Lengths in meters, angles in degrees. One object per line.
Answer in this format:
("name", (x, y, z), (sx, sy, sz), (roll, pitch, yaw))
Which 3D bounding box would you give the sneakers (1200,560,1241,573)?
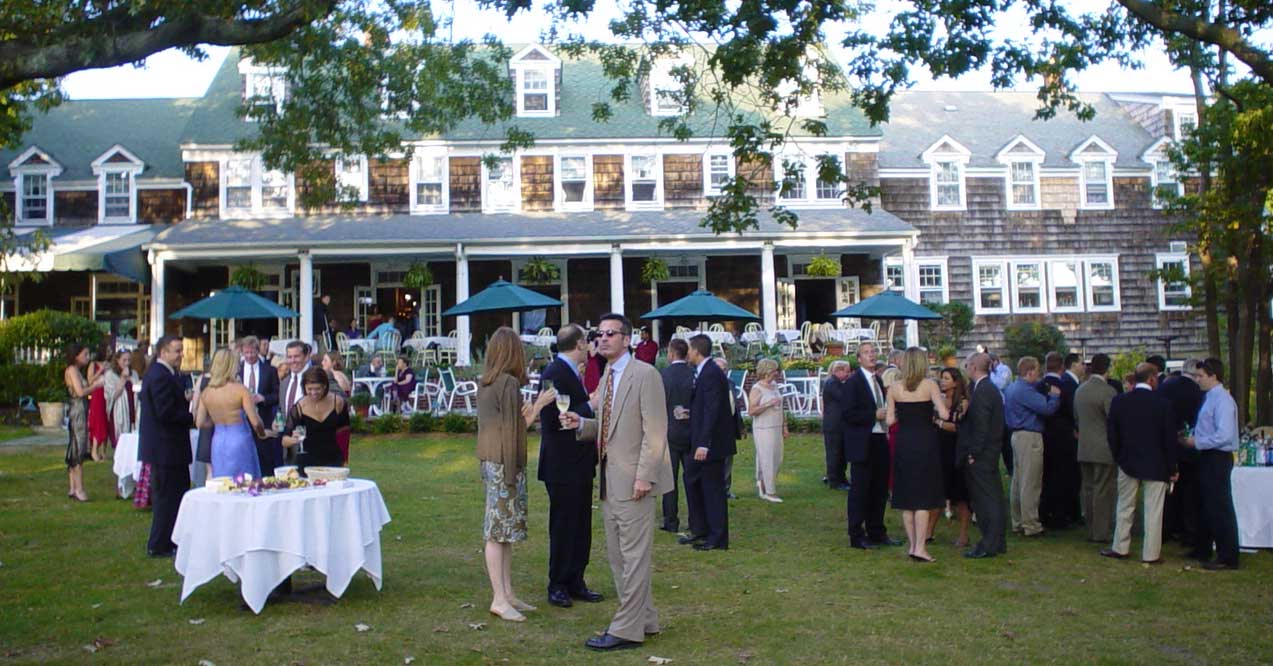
("sneakers", (12.318, 4.897, 29.844), (0.697, 0.239, 0.259), (3, -3, 6))

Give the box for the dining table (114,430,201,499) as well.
("dining table", (-11.065, 3.149, 32.506), (2.099, 1.330, 1.957), (0, -2, 0))

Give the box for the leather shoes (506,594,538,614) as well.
("leather shoes", (-2.308, 5.486, 28.580), (0.698, 0.166, 0.241), (20, 5, -6))

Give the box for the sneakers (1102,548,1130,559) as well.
("sneakers", (10.324, 4.729, 30.430), (0.593, 0.213, 0.208), (7, 2, 18))

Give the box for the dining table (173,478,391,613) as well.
("dining table", (-7.101, 4.255, 28.898), (3.362, 1.501, 2.935), (0, -3, 3))

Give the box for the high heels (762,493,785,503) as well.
("high heels", (3.206, 3.877, 33.143), (0.535, 0.192, 0.177), (-2, 0, 43))

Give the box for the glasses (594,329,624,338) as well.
("glasses", (-0.493, 0.014, 28.127), (0.511, 0.126, 0.171), (-1, 1, 13))

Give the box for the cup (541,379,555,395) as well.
("cup", (-1.774, 1.073, 28.354), (0.293, 0.247, 0.117), (0, 2, 30))

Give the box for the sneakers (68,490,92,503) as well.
("sneakers", (-12.924, 3.737, 32.772), (0.452, 0.172, 0.241), (-5, -3, 35))

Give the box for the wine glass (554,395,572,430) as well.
("wine glass", (-1.460, 1.531, 28.326), (0.291, 0.631, 0.231), (-1, 2, 1))

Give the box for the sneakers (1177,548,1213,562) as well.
("sneakers", (11.971, 4.752, 30.308), (0.654, 0.242, 0.228), (4, 2, 16))
